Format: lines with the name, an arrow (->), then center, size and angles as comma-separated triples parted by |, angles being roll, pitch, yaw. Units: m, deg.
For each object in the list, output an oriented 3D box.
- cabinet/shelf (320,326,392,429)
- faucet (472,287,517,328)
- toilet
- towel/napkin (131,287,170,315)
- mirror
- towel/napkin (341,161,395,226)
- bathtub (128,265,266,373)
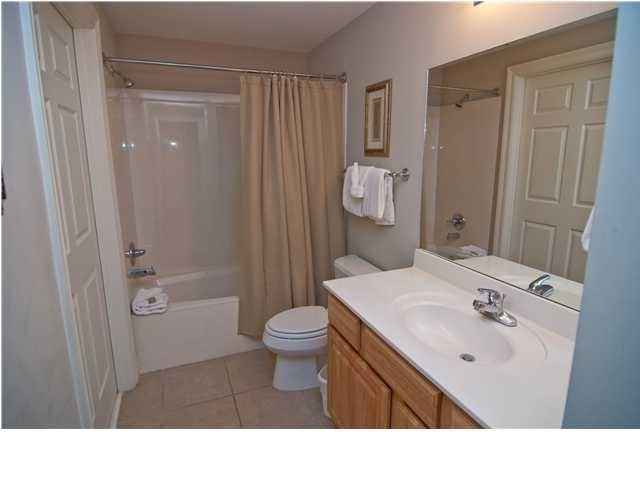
cabinet/shelf -> 0.149, 0.641, 1.892 | 0.105, 0.386, 0.664 | 2, 1, -17
faucet -> 0.655, 0.256, 1.688 | 0.163, 0.120, 0.102 | -2, -10, 22
toilet -> -0.104, 0.488, 2.848 | 0.799, 0.852, 0.531 | -4, 11, -23
towel/napkin -> -1.072, 0.381, 2.820 | 0.207, 0.107, 0.319 | 3, 0, -22
mirror -> 0.713, -0.327, 1.813 | 0.112, 1.105, 0.884 | 2, 1, -28
towel/napkin -> 0.271, -0.279, 2.646 | 0.134, 0.301, 0.429 | -3, 17, -30
bathtub -> -0.879, 0.369, 2.949 | 0.527, 0.352, 0.792 | -4, 5, -26
